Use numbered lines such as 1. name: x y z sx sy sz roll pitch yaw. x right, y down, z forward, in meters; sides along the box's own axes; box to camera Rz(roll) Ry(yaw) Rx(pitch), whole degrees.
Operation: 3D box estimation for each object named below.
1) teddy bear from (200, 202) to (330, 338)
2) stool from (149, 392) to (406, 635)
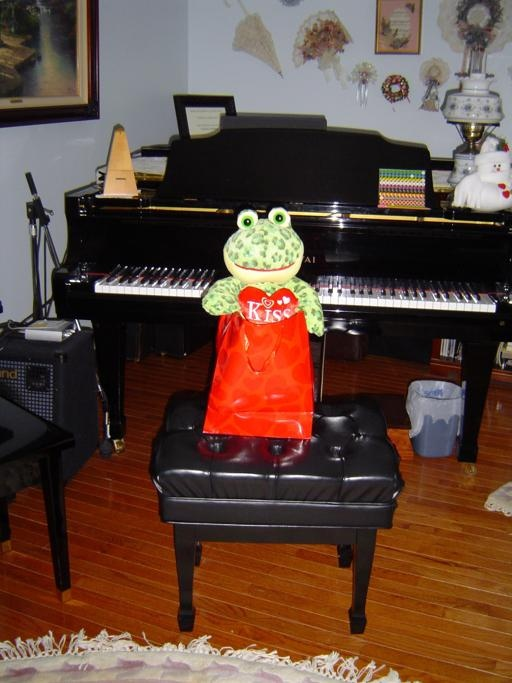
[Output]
1. teddy bear: 0.023 -0.163 1.302 0.304 0.297 0.174 0 13 -10
2. stool: 0.046 0.463 1.496 0.743 0.590 0.497 1 33 2
